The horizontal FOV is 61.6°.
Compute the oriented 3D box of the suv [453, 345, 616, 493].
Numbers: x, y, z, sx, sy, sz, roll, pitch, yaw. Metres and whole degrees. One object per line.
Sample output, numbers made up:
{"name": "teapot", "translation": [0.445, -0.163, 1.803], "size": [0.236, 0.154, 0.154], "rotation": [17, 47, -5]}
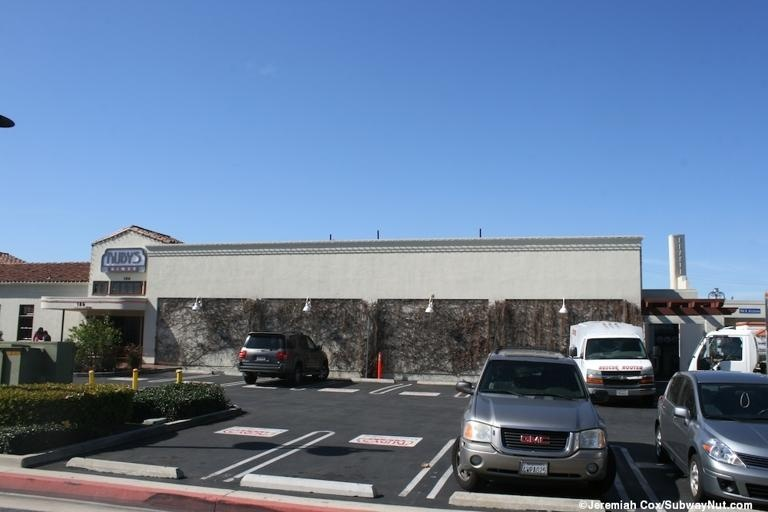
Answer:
{"name": "suv", "translation": [2.963, 3.298, 12.690], "size": [2.738, 2.626, 2.587], "rotation": [-5, -6, 30]}

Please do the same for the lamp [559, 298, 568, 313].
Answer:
{"name": "lamp", "translation": [7.833, 2.123, 28.258], "size": [0.421, 0.697, 0.612], "rotation": [-4, -6, 19]}

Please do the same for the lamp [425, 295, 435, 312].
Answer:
{"name": "lamp", "translation": [2.115, 2.152, 29.794], "size": [0.412, 0.901, 0.321], "rotation": [-3, -6, 18]}

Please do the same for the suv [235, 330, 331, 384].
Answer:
{"name": "suv", "translation": [-4.033, 4.047, 26.912], "size": [2.082, 1.330, 3.676], "rotation": [-2, -3, 20]}

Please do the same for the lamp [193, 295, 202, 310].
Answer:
{"name": "lamp", "translation": [-9.510, 2.379, 32.645], "size": [0.565, 0.645, 0.285], "rotation": [-2, -6, 0]}

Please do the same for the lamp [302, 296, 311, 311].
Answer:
{"name": "lamp", "translation": [-3.723, 2.279, 31.106], "size": [0.433, 0.728, 0.613], "rotation": [-1, -5, -11]}
